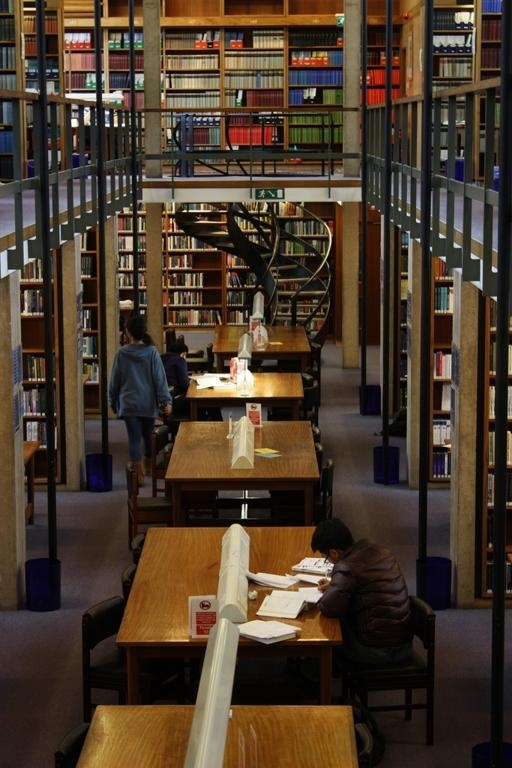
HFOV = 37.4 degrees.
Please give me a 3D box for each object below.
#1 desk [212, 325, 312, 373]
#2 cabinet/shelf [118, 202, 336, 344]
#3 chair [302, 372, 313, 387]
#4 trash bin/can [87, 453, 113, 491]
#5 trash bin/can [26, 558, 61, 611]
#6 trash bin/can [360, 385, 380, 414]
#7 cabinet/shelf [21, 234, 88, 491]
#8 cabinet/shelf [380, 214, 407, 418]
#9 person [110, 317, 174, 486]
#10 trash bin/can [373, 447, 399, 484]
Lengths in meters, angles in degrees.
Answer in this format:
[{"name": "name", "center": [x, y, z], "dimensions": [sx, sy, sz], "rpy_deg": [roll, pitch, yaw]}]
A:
[{"name": "desk", "center": [0.095, -0.355, 9.934], "dimensions": [1.250, 0.674, 1.889], "rpy_deg": [-5, 11, 0]}, {"name": "cabinet/shelf", "center": [-0.412, -2.342, 14.876], "dimensions": [4.451, 2.622, 3.384], "rpy_deg": [3, 12, 33]}, {"name": "chair", "center": [0.643, -0.062, 9.164], "dimensions": [0.116, 0.198, 0.146], "rpy_deg": [-4, 17, -15]}, {"name": "trash bin/can", "center": [-1.632, 0.911, 7.892], "dimensions": [0.265, 0.477, 0.325], "rpy_deg": [-3, 10, -16]}, {"name": "trash bin/can", "center": [-1.470, 1.383, 5.232], "dimensions": [0.185, 0.340, 0.248], "rpy_deg": [4, 17, 9]}, {"name": "trash bin/can", "center": [1.699, 0.208, 11.202], "dimensions": [0.261, 0.623, 0.335], "rpy_deg": [0, 0, 7]}, {"name": "cabinet/shelf", "center": [-2.152, -0.204, 8.015], "dimensions": [0.605, 2.628, 1.136], "rpy_deg": [-8, 9, -39]}, {"name": "cabinet/shelf", "center": [1.974, -0.852, 10.530], "dimensions": [0.254, 2.706, 1.249], "rpy_deg": [-1, 8, 11]}, {"name": "person", "center": [-1.124, 0.082, 7.367], "dimensions": [0.451, 1.730, 0.460], "rpy_deg": [-5, 26, -15]}, {"name": "trash bin/can", "center": [1.410, 0.858, 8.162], "dimensions": [0.270, 0.516, 0.515], "rpy_deg": [-2, 10, 9]}]
